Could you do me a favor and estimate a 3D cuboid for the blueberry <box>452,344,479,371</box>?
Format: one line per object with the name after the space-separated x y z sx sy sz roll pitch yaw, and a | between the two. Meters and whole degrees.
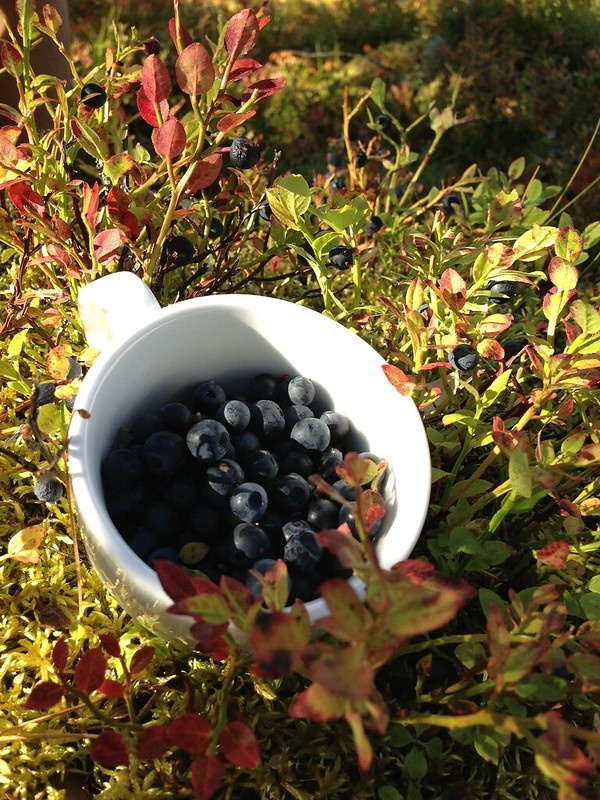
0.173 -0.045 0.789 0.030 0.029 0.026 1 93 35 | blueberry

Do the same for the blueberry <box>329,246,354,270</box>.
0.054 -0.189 0.984 0.034 0.031 0.024 0 39 -3 | blueberry

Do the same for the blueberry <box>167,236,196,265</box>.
-0.156 -0.195 0.971 0.041 0.027 0.033 2 84 -3 | blueberry

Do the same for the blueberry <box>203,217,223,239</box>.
-0.132 -0.261 1.131 0.033 0.022 0.027 3 82 8 | blueberry

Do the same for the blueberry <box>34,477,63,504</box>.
-0.252 0.096 0.771 0.030 0.032 0.028 7 75 -2 | blueberry
